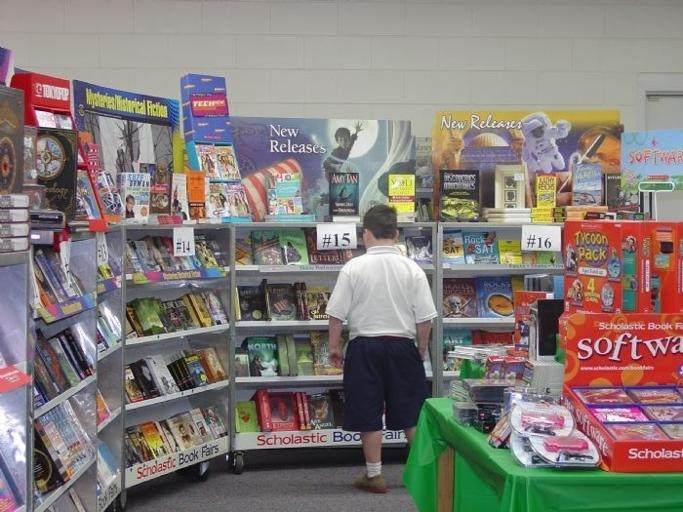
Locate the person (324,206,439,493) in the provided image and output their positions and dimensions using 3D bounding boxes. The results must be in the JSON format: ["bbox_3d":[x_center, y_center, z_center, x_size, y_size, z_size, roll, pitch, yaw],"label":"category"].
[{"bbox_3d":[0.299,0.684,5.230,0.766,2.073,0.352,-4,9,-5],"label":"person"}]

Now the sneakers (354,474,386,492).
[{"bbox_3d":[0.215,1.666,5.364,0.100,0.122,0.253,0,1,-38],"label":"sneakers"}]
